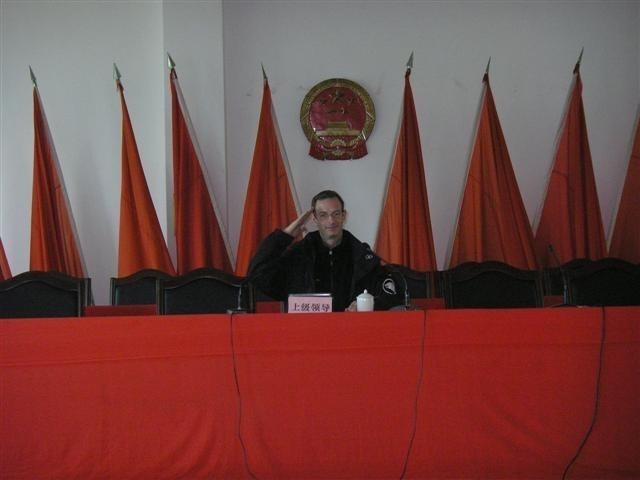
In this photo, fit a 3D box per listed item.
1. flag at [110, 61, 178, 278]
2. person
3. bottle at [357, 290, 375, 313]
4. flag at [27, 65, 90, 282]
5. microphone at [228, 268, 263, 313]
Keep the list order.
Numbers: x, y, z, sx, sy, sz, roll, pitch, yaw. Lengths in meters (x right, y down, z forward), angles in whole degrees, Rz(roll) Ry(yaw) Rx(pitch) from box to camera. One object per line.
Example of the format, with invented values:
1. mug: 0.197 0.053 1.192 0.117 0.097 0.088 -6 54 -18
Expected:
1. flag: -1.385 -0.533 7.359 0.560 1.602 0.319 2 2 45
2. person: -0.032 0.192 6.603 1.014 1.334 0.745 -2 -9 -8
3. bottle: 0.254 0.369 5.693 0.079 0.128 0.122 0 -9 -3
4. flag: -1.984 -0.443 7.353 0.415 1.436 0.299 0 2 9
5. microphone: -0.453 0.332 6.086 0.200 0.396 0.211 -3 -4 43
